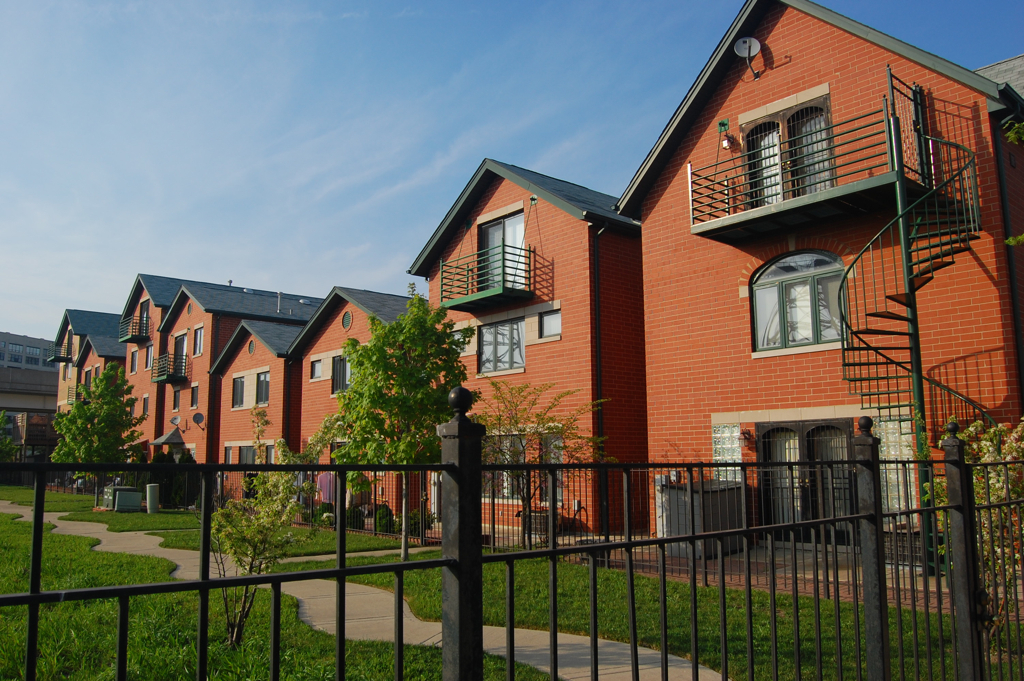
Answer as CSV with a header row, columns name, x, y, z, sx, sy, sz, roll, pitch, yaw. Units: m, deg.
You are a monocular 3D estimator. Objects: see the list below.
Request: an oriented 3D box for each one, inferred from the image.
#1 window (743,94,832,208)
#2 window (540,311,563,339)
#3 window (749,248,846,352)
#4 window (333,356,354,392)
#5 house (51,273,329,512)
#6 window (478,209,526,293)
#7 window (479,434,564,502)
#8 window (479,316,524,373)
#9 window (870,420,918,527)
name,x,y,z,sx,sy,sz,roll,pitch,yaw
window,6.614,-4.493,22.672,0.192,2.663,2.386,11,-23,-32
window,1.157,-0.438,27.439,0.065,0.594,0.664,8,-14,-35
window,6.763,-0.921,22.334,0.108,2.430,2.218,6,-8,-44
window,-6.375,1.219,35.501,0.428,1.373,1.136,8,-15,-27
house,-12.198,2.093,37.345,4.821,5.383,9.936,8,-14,-41
window,-0.211,-2.562,28.991,1.675,2.018,2.332,0,9,9
window,0.201,3.261,24.104,2.519,1.824,1.359,1,7,-24
window,-0.272,0.110,28.769,1.718,1.564,0.188,-6,-11,28
window,6.735,2.264,16.743,0.084,2.625,2.565,-6,-11,36
